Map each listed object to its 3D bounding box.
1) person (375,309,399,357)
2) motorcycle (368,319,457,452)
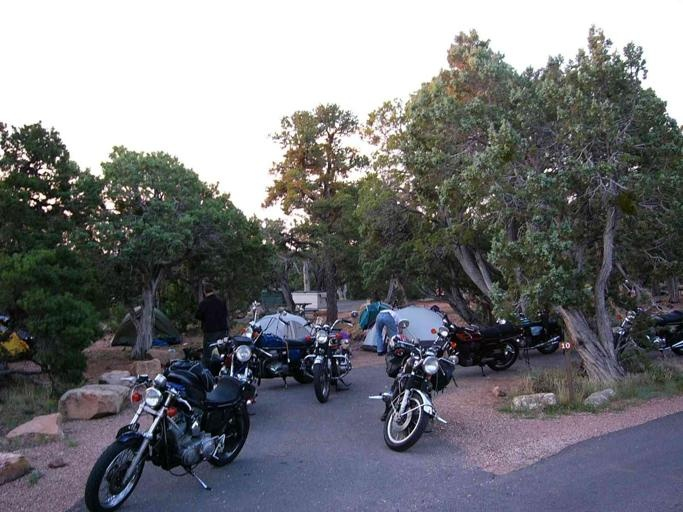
[{"bbox_3d":[1.136,2.029,13.687,0.468,1.169,0.395,-2,-41,5],"label":"person"},{"bbox_3d":[1.392,2.454,10.150,1.252,2.128,2.135,-1,2,7],"label":"motorcycle"}]
